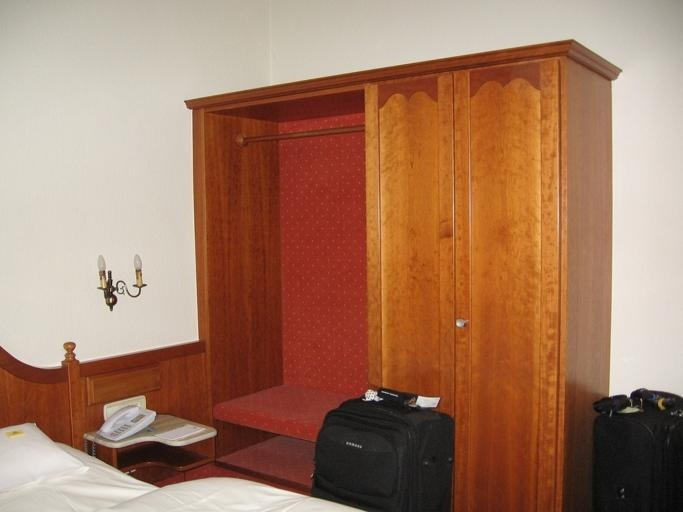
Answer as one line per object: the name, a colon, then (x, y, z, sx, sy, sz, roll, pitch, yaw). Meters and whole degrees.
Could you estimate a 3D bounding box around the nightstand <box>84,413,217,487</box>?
nightstand: (-1.200, 1.257, 3.705, 0.597, 0.407, 0.472, 4, 7, 36)

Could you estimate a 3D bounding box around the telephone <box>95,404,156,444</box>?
telephone: (-1.297, 1.013, 3.592, 0.183, 0.096, 0.245, 3, 9, 32)

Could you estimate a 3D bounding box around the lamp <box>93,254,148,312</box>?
lamp: (-1.447, 0.173, 3.828, 0.360, 0.386, 0.117, -2, 2, -42)
